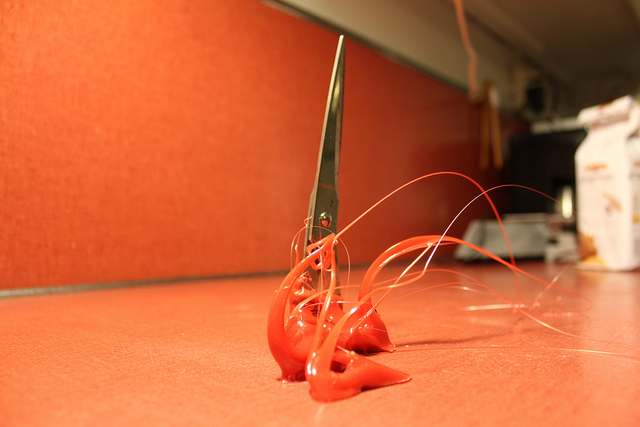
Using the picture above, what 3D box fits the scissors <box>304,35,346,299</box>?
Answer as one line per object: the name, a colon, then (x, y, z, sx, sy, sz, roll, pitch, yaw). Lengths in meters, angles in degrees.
scissors: (0.015, -0.204, 1.529, 0.102, 0.667, 0.133, 2, -2, -1)
